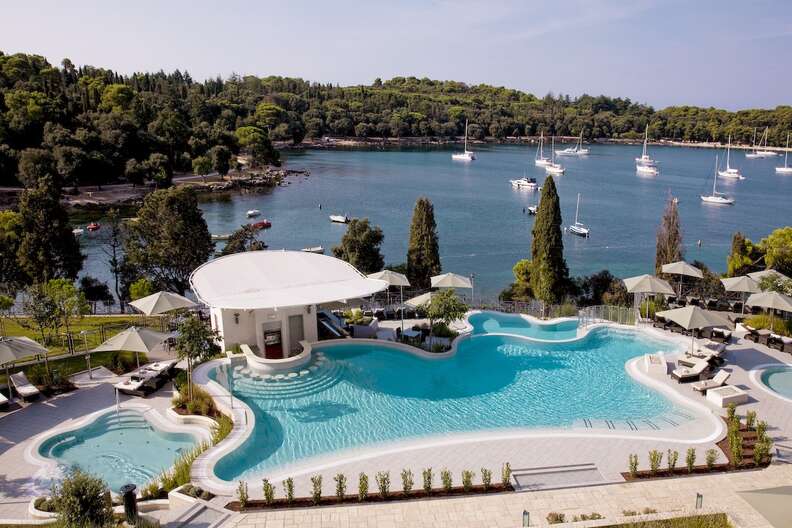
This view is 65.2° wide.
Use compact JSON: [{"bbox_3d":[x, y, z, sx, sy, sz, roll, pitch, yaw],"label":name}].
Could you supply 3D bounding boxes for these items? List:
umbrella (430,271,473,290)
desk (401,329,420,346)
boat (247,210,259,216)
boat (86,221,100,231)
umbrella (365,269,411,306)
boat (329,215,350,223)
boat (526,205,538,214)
[{"bbox_3d":[4.340,1.513,49.340,2.945,1.292,2.181,-3,13,-2],"label":"umbrella"},{"bbox_3d":[1.106,5.457,46.288,1.494,0.622,1.476,7,16,36],"label":"desk"},{"bbox_3d":[-24.143,-8.718,104.998,1.107,0.957,3.069,1,4,21],"label":"boat"},{"bbox_3d":[-44.015,-5.391,89.831,1.830,0.927,2.505,-12,16,-36],"label":"boat"},{"bbox_3d":[-0.203,1.705,50.013,1.834,1.423,1.936,15,26,36],"label":"umbrella"},{"bbox_3d":[-9.459,-7.426,102.976,2.878,1.097,4.338,-5,13,-10],"label":"boat"},{"bbox_3d":[25.362,-9.995,115.722,1.882,1.117,2.554,-1,15,3],"label":"boat"}]
